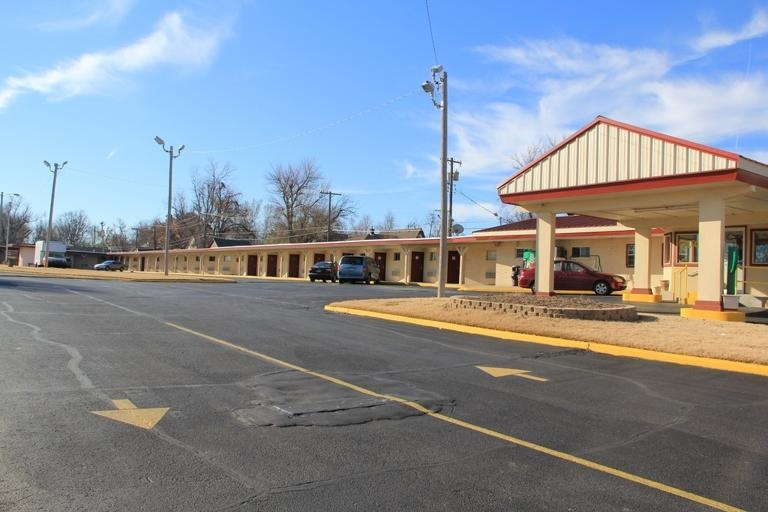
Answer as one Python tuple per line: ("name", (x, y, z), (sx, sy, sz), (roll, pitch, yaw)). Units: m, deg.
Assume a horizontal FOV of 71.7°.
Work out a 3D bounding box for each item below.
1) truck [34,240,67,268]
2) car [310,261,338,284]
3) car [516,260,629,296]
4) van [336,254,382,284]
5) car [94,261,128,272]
("truck", (-45.080, -0.258, 71.731), (4.933, 3.841, 2.541), (0, -3, -32))
("car", (-4.428, 1.208, 38.839), (1.984, 1.371, 1.772), (2, 7, -5))
("car", (9.443, 1.112, 25.967), (5.735, 1.620, 2.307), (-1, -1, 19))
("van", (-1.586, 0.853, 37.086), (2.771, 2.085, 4.713), (4, 7, 17))
("car", (-37.959, 1.468, 74.277), (2.651, 0.827, 1.451), (6, -7, -34))
